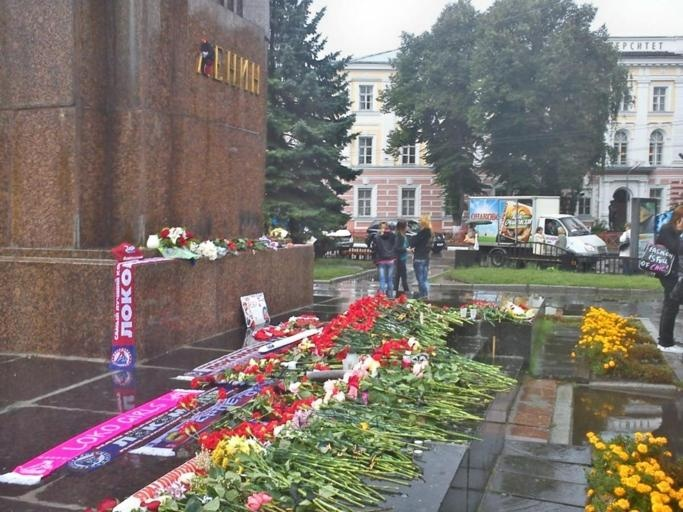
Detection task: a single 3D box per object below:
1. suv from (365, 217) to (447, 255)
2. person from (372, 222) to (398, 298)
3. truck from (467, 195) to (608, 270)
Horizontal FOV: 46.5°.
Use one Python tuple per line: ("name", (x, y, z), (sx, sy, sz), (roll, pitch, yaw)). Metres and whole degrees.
("suv", (2.972, -1.017, 38.393), (3.678, 1.686, 1.932), (1, 4, 23))
("person", (0.869, 0.083, 16.199), (0.448, 1.498, 0.733), (-1, 4, 1))
("truck", (5.943, -0.807, 26.598), (5.067, 2.822, 2.349), (0, 3, 37))
